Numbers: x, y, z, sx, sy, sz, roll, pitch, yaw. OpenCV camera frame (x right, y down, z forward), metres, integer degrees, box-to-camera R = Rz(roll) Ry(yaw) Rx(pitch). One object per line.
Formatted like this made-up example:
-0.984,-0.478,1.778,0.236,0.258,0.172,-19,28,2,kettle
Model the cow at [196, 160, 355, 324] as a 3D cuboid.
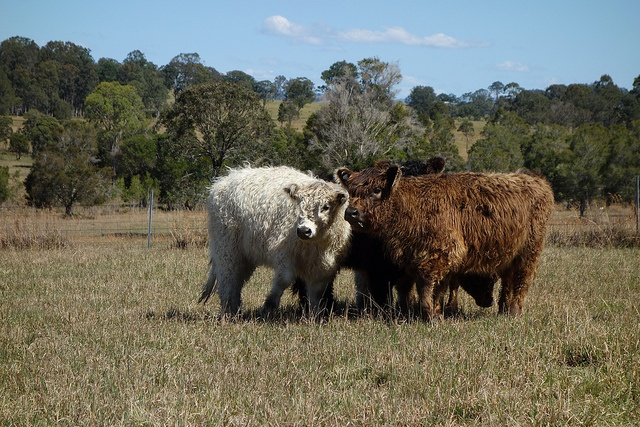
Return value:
-1.144,0.755,18.533,3.707,3.838,1.279,1,3,30,cow
